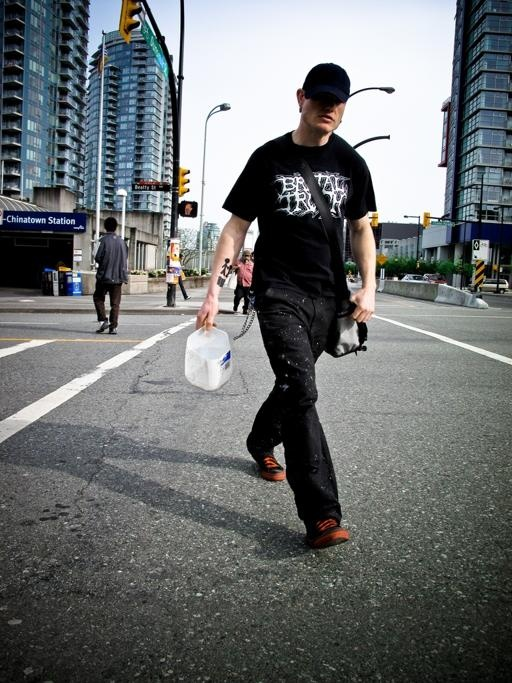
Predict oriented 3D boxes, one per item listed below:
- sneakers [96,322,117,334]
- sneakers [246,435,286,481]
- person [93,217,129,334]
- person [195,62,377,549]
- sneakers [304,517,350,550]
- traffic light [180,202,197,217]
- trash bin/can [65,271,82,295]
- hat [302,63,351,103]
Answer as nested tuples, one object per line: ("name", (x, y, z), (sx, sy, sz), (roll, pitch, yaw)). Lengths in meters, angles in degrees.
("sneakers", (-3.054, -0.262, 10.947), (0.221, 0.232, 0.585), (-10, 11, -38))
("sneakers", (0.048, 0.710, 3.290), (0.136, 0.135, 0.362), (-5, 9, -21))
("person", (-2.954, -1.353, 10.984), (0.648, 2.372, 1.409), (0, 7, -15))
("person", (0.221, -0.240, 2.675), (0.912, 2.121, 0.852), (7, 9, 34))
("sneakers", (0.295, 0.800, 2.249), (0.096, 0.093, 0.203), (4, -20, -22))
("traffic light", (-2.409, -4.674, 19.178), (0.583, 0.557, 0.716), (2, 7, 0))
("trash bin/can", (-8.195, -2.605, 24.391), (0.620, 1.049, 0.468), (-1, 8, -26))
("hat", (0.322, -1.183, 2.475), (0.214, 0.196, 0.228), (3, 7, 4))
